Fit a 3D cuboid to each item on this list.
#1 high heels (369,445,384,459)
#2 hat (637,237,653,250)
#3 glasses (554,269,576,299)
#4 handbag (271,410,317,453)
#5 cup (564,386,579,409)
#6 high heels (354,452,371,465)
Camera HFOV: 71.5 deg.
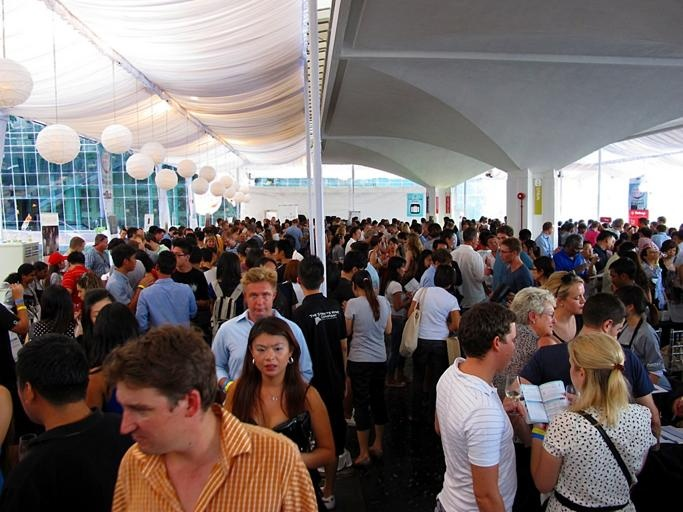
[{"bbox_3d":[0.366,2.064,5.029,0.073,0.166,0.194,2,-3,-21],"label":"high heels"},{"bbox_3d":[5.339,-0.219,8.344,0.191,0.120,0.268,-11,6,12],"label":"hat"},{"bbox_3d":[1.849,0.241,3.884,0.095,0.209,0.156,12,25,-15],"label":"glasses"},{"bbox_3d":[-0.255,1.054,2.815,0.299,0.248,0.093,-1,1,-43],"label":"handbag"},{"bbox_3d":[1.373,0.839,2.830,0.109,0.099,0.094,2,2,-5],"label":"cup"},{"bbox_3d":[0.225,2.108,4.941,0.193,0.161,0.073,-1,-3,2],"label":"high heels"}]
